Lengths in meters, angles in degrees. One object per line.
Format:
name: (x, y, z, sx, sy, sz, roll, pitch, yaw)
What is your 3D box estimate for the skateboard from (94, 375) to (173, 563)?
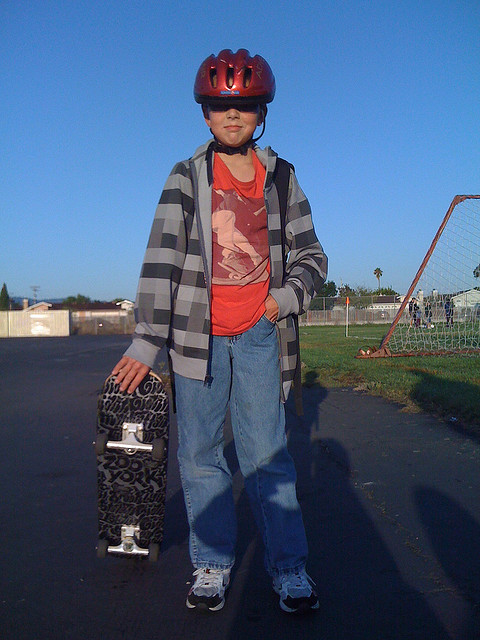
skateboard: (-0.401, 0.594, 1.799, 0.261, 1.186, 0.193, 1, 33, -14)

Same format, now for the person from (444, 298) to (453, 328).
person: (7.546, -0.157, 16.569, 0.244, 0.834, 1.496, -1, 0, 24)

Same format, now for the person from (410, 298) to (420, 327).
person: (5.064, -0.326, 13.338, 0.225, 0.595, 1.053, -1, 0, 21)

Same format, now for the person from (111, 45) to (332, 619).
person: (-0.033, -0.012, 1.798, 0.784, 2.127, 0.478, -1, -1, 0)

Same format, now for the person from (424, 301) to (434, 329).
person: (6.259, -0.111, 15.188, 0.192, 0.834, 0.982, -1, 0, 25)

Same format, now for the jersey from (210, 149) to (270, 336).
jersey: (-0.011, -0.332, 1.807, 0.189, 0.913, 0.190, 7, -15, -22)
